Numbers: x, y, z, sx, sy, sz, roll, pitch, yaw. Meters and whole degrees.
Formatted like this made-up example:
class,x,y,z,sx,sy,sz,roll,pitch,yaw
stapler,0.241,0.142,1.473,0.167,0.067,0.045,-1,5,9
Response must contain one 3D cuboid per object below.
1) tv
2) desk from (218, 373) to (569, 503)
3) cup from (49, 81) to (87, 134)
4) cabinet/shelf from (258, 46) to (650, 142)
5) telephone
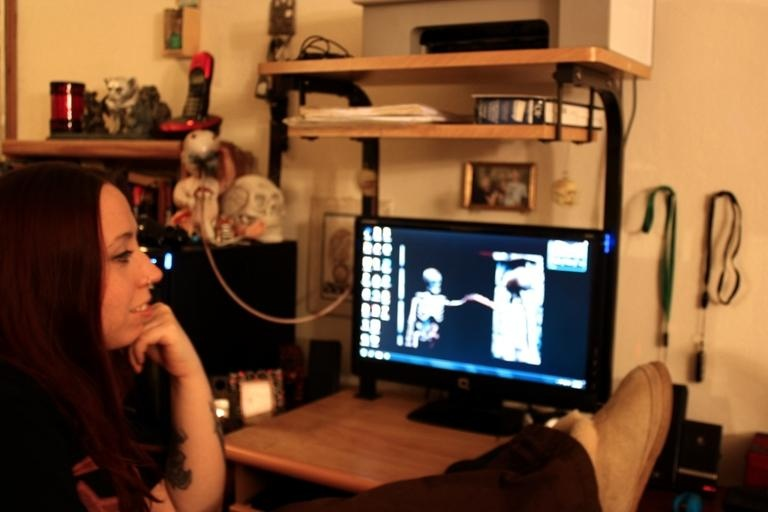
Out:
class,x,y,z,sx,sy,sz,roll,pitch,yaw
tv,0.287,0.183,1.931,0.579,0.424,0.169,5,3,25
desk,0.008,0.446,1.724,0.421,0.266,0.431,4,4,37
cup,-1.152,-0.537,2.558,0.111,0.183,0.090,-4,11,-29
cabinet/shelf,0.175,-0.433,1.937,1.020,0.229,0.374,6,11,21
telephone,-0.637,-0.488,2.318,0.133,0.382,0.142,10,-7,-16
